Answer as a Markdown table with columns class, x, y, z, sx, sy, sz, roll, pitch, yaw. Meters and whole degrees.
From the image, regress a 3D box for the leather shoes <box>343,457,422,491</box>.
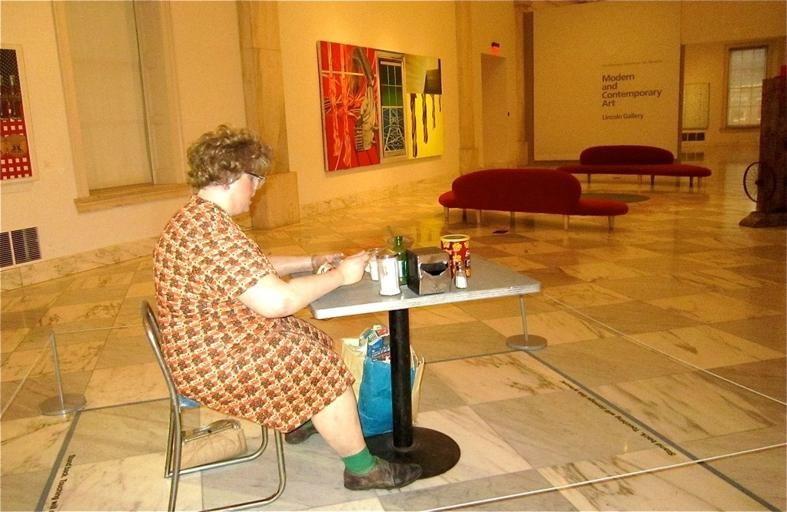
| class | x | y | z | sx | sy | sz | roll | pitch | yaw |
| --- | --- | --- | --- | --- | --- | --- | --- | --- | --- |
| leather shoes | -0.063 | 1.265 | 3.350 | 0.491 | 0.123 | 0.182 | -3 | 6 | -9 |

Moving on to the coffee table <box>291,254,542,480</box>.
| class | x | y | z | sx | sy | sz | roll | pitch | yaw |
| --- | --- | --- | --- | --- | --- | --- | --- | --- | --- |
| coffee table | -0.041 | 0.630 | 3.803 | 1.723 | 1.177 | 1.408 | -6 | 24 | -10 |

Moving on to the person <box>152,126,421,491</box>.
| class | x | y | z | sx | sy | sz | roll | pitch | yaw |
| --- | --- | --- | --- | --- | --- | --- | --- | --- | --- |
| person | -0.674 | 0.376 | 3.059 | 1.141 | 2.139 | 0.432 | -5 | 16 | -3 |

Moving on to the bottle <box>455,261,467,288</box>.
| class | x | y | z | sx | sy | sz | roll | pitch | yaw |
| --- | --- | --- | --- | --- | --- | --- | --- | --- | --- |
| bottle | 0.380 | 0.104 | 3.238 | 0.073 | 0.141 | 0.118 | -3 | 14 | 4 |
